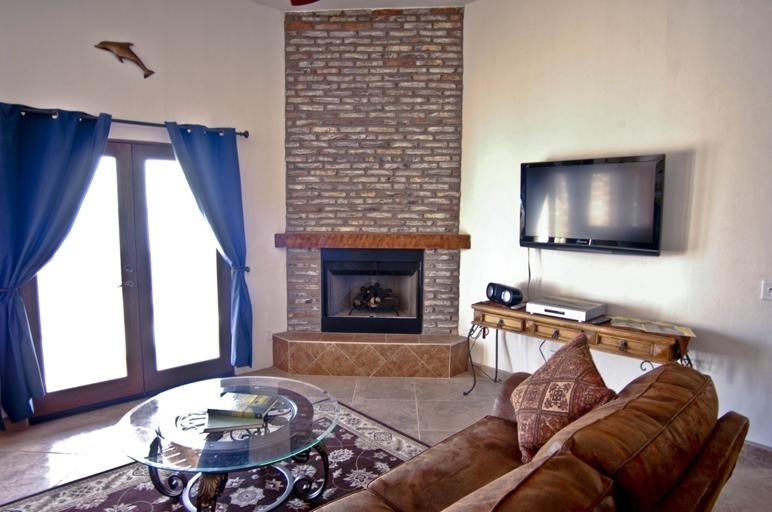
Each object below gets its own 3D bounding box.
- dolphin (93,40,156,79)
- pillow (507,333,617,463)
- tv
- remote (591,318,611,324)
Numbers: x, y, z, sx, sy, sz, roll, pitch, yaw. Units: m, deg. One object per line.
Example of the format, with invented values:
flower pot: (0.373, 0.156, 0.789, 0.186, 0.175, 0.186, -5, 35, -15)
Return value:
dolphin: (-2.330, -1.759, 4.723, 0.470, 0.291, 0.028, -2, 5, -30)
pillow: (1.230, 0.906, 3.449, 0.233, 0.717, 0.696, 38, 18, -14)
tv: (1.872, -0.450, 4.664, 1.779, 0.882, 0.121, 4, 7, 40)
remote: (1.831, 0.559, 4.496, 0.099, 0.029, 0.420, -5, -4, 44)
